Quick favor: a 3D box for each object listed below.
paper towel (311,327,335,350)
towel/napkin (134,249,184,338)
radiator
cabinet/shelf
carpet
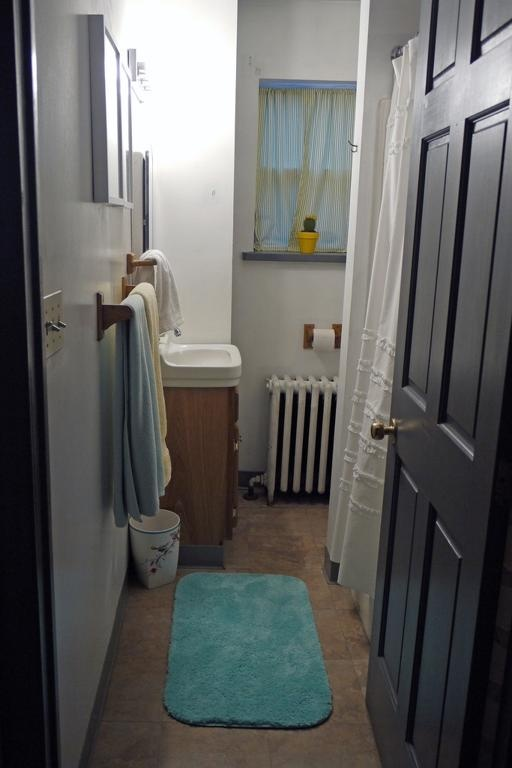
[{"bbox_3d":[0.398,-0.234,3.002,0.095,0.170,0.098,-1,2,0],"label":"paper towel"},{"bbox_3d":[-0.388,-0.370,2.065,0.132,0.448,0.348,0,20,6],"label":"towel/napkin"},{"bbox_3d":[0.248,0.280,3.130,0.377,0.751,0.158,-1,13,-1],"label":"radiator"},{"bbox_3d":[-0.239,0.210,2.704,0.374,1.338,0.628,-2,17,-4],"label":"cabinet/shelf"},{"bbox_3d":[-0.039,0.899,1.808,0.532,0.018,0.750,2,9,-5],"label":"carpet"}]
